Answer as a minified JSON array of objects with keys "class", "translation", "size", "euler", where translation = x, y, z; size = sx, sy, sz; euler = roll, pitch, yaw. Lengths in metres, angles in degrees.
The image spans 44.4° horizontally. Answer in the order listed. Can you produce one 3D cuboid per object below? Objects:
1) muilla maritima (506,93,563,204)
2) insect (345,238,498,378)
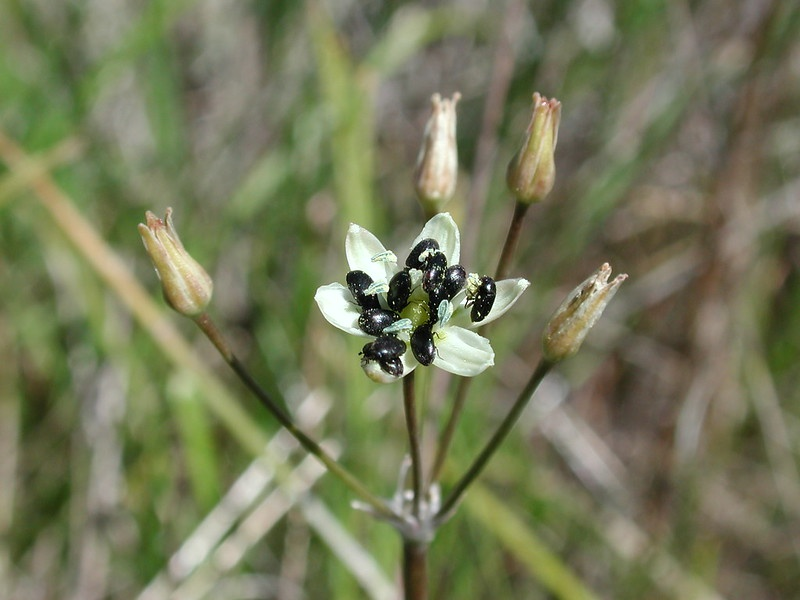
[{"class":"muilla maritima","translation":[0.436,-0.468,3.170],"size":[0.149,0.335,0.336],"euler":[15,82,8]},{"class":"insect","translation":[0.069,0.008,2.927],"size":[0.415,0.160,0.370],"euler":[23,103,9]}]
